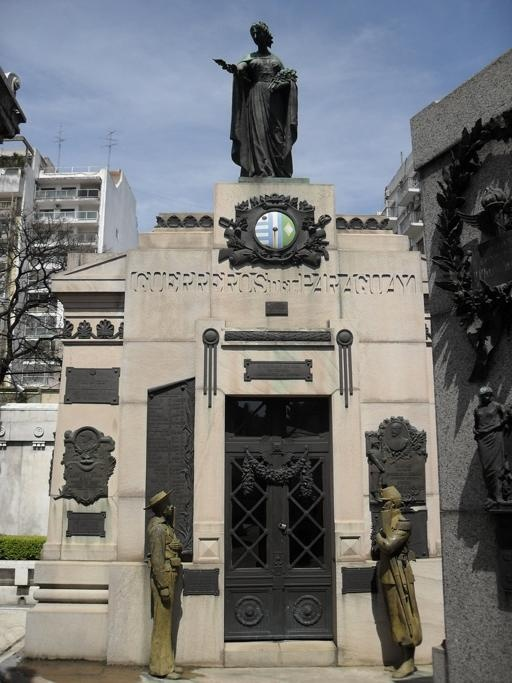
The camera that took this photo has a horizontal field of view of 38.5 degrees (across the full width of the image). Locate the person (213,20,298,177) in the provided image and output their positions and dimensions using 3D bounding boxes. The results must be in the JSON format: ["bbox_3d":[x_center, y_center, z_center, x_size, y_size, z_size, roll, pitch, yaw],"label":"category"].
[{"bbox_3d":[0.084,-3.609,11.623,1.068,2.121,0.483,-1,-6,9],"label":"person"}]

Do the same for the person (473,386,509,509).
[{"bbox_3d":[1.970,0.864,6.151,0.287,0.962,0.175,-4,-6,31],"label":"person"}]

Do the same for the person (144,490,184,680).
[{"bbox_3d":[-1.147,2.980,9.119,0.426,2.194,0.730,0,-5,-6],"label":"person"}]

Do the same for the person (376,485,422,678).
[{"bbox_3d":[1.754,2.953,9.133,0.512,2.269,0.742,-1,-5,8],"label":"person"}]
